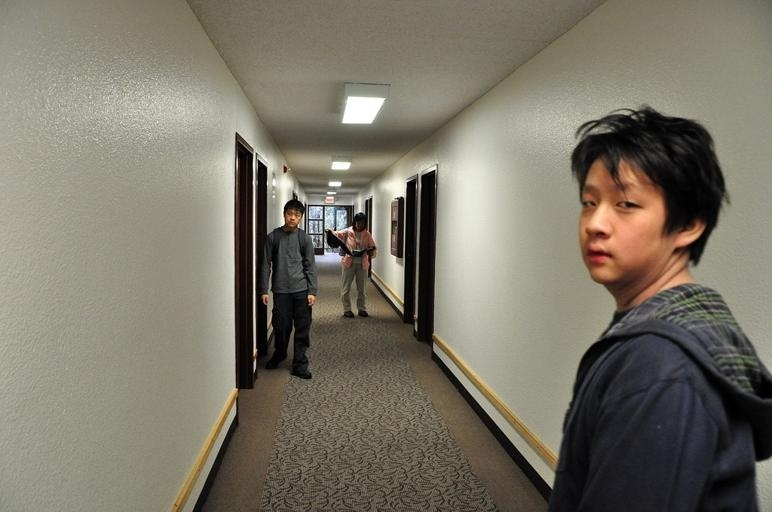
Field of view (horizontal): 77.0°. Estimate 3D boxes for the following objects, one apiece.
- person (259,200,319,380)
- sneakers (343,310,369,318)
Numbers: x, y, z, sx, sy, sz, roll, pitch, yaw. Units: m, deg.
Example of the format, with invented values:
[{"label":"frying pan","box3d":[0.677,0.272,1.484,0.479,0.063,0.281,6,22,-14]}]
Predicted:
[{"label":"person","box3d":[-1.043,0.342,4.891,0.556,1.799,0.358,0,6,-16]},{"label":"sneakers","box3d":[-0.552,0.928,7.899,0.443,0.167,0.146,1,2,-13]}]
